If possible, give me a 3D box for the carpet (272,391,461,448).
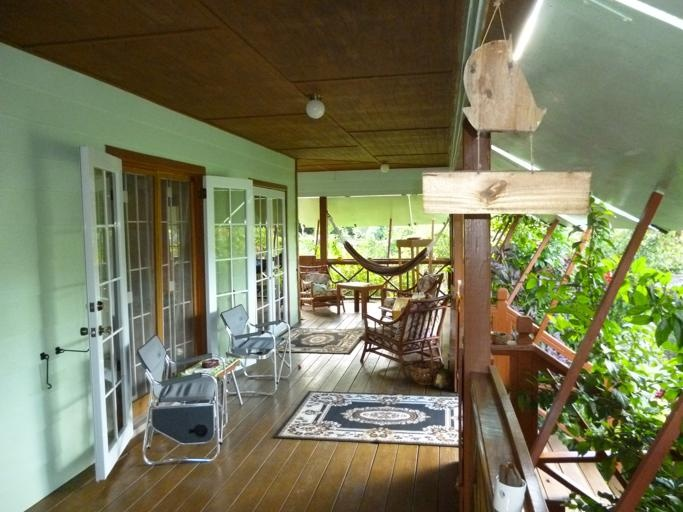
[{"bbox_3d":[0.291,1.490,4.494,1.583,0.027,0.969,-1,7,8],"label":"carpet"}]

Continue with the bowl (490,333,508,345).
[{"bbox_3d":[1.271,0.673,3.942,0.101,0.055,0.104,-2,0,0],"label":"bowl"}]

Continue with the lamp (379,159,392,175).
[{"bbox_3d":[0.812,-1.663,9.075,0.219,0.228,0.215,-42,18,-25],"label":"lamp"}]

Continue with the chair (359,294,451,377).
[{"bbox_3d":[0.753,0.873,5.742,0.656,0.881,0.990,-2,4,-29],"label":"chair"}]

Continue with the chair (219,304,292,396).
[{"bbox_3d":[-0.928,1.009,5.288,0.604,0.876,0.696,0,4,11],"label":"chair"}]

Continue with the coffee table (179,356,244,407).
[{"bbox_3d":[-1.315,1.240,5.230,0.540,0.404,0.795,2,0,7],"label":"coffee table"}]

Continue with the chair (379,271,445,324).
[{"bbox_3d":[0.928,0.592,6.522,0.660,0.918,0.665,10,-1,3],"label":"chair"}]

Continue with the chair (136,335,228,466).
[{"bbox_3d":[-1.296,1.122,4.031,0.610,0.880,0.869,-1,1,-12],"label":"chair"}]
